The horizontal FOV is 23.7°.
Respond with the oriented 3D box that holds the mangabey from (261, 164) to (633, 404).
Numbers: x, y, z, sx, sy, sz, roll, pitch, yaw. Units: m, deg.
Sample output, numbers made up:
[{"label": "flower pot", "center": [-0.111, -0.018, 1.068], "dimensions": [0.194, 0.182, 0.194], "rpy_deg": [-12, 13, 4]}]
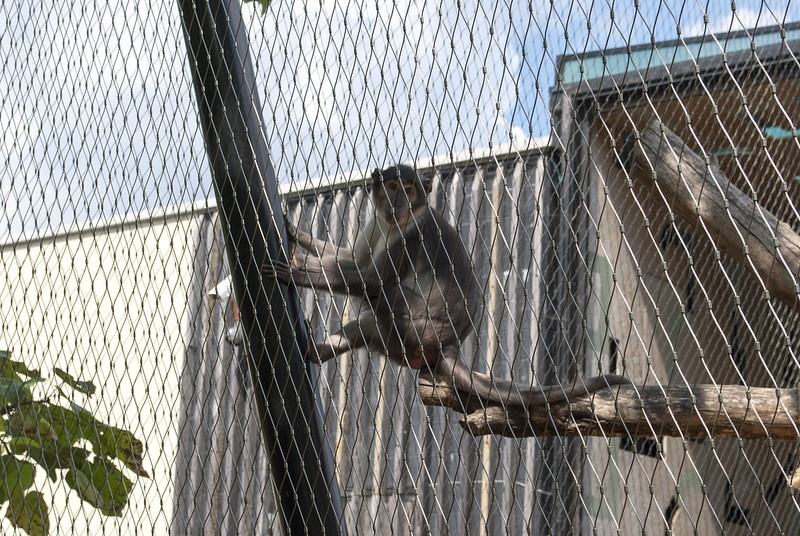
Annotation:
[{"label": "mangabey", "center": [0.132, 0.190, 15.012], "dimensions": [2.180, 2.471, 1.144], "rpy_deg": [-9, -17, 6]}]
